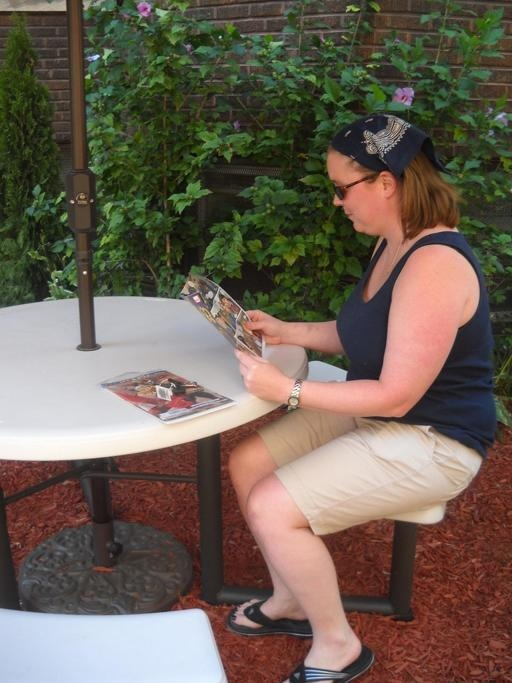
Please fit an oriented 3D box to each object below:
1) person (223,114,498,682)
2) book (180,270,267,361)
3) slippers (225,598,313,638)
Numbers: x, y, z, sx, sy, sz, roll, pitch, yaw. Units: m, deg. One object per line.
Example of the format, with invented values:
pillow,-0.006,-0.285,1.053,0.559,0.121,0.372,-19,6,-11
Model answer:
person,0.297,0.156,1.737,0.721,1.474,0.653,1,15,-3
book,-0.080,-0.034,1.623,0.073,0.276,0.156,-41,24,15
slippers,0.040,0.830,1.906,0.259,0.066,0.093,4,20,10
